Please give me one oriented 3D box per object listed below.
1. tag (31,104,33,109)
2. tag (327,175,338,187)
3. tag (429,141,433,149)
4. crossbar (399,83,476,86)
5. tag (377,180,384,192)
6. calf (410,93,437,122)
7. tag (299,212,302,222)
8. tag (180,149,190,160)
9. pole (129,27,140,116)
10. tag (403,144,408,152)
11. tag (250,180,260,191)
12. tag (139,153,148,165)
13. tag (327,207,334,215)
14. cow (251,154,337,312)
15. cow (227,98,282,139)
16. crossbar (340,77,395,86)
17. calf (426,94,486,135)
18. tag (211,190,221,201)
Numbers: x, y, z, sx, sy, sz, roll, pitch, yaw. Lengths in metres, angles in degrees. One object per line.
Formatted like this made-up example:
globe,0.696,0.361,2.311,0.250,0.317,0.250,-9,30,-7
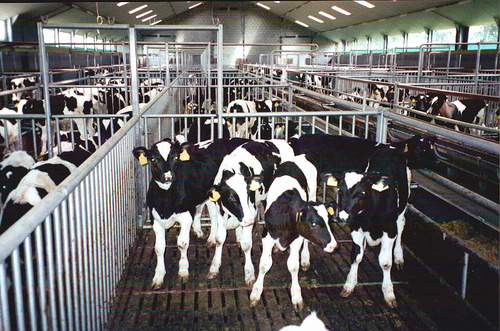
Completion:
tag,-5.106,-1.399,8.037,0.051,0.056,0.019,7,15,20
tag,0.785,0.140,3.243,0.105,0.113,0.015,2,12,8
tag,1.865,-0.219,3.529,0.025,0.083,0.017,-10,5,-1
crossbar,5.130,-2.262,9.500,1.291,0.108,0.982,4,13,7
tag,1.208,0.187,3.153,0.054,0.093,0.022,7,15,21
calf,5.139,-1.754,10.128,0.819,0.998,1.982,3,6,27
tag,0.450,0.453,3.017,0.016,0.086,0.026,7,0,-44
tag,-0.678,-0.112,3.591,0.098,0.117,0.057,-3,15,-21
pole,-1.403,-1.133,4.167,0.078,1.031,0.298,-3,15,-19
tag,1.628,-0.186,3.562,0.018,0.081,0.052,-8,23,-44
tag,0.051,0.182,3.205,0.096,0.096,0.042,-1,14,-11
tag,-1.098,-0.072,3.540,0.091,0.137,0.017,-12,18,-13
tag,0.737,0.410,3.088,0.075,0.072,0.027,-5,15,-28
cow,0.443,0.656,3.392,0.734,1.354,0.802,4,14,7
cow,0.183,-1.259,9.647,1.741,1.191,0.514,-12,7,-23
crossbar,2.768,-2.073,8.301,0.917,0.212,3.352,5,13,13
calf,5.727,-1.333,9.490,1.982,1.052,0.568,-4,8,-17
tag,-0.319,0.281,3.281,0.089,0.102,0.035,1,14,-5
